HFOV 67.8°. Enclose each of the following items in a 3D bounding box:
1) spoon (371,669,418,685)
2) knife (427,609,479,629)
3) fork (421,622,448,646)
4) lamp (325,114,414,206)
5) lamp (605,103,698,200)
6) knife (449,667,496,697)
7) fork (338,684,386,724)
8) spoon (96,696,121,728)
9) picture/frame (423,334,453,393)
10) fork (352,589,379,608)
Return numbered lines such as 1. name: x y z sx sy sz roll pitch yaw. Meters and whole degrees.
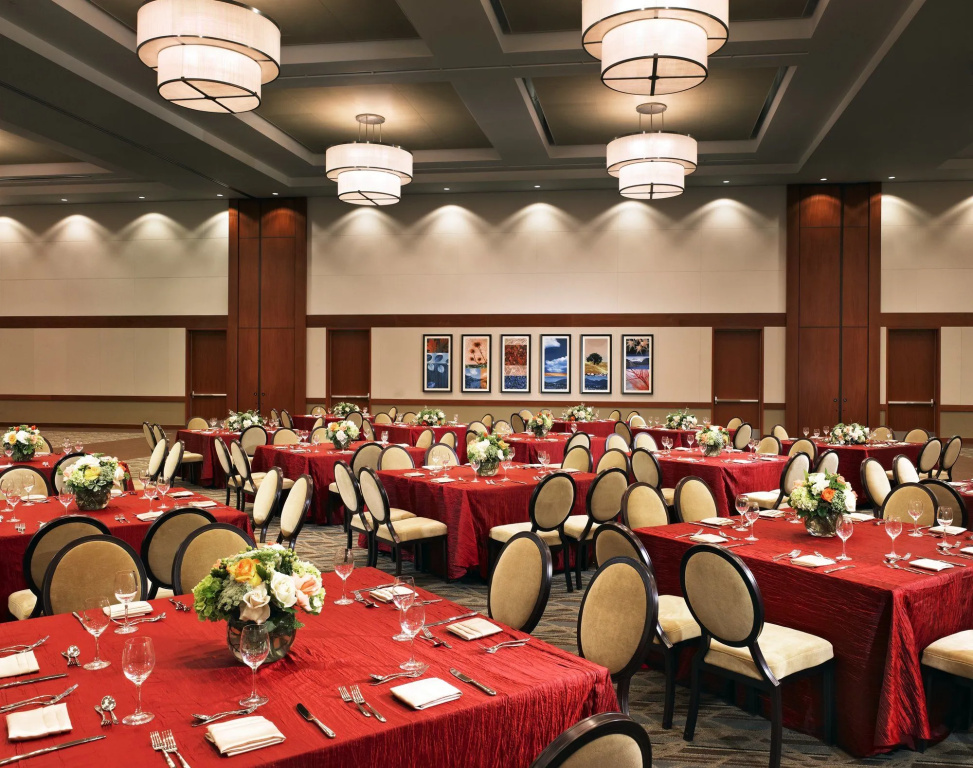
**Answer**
1. spoon: -0.358 1.149 2.863 0.204 0.023 0.092 -1 -2 -10
2. knife: -0.169 1.103 3.420 0.300 0.032 0.160 0 -3 -34
3. fork: -0.241 1.098 3.219 0.059 0.041 0.221 -10 4 -9
4. lamp: -1.908 -3.757 11.934 1.549 1.345 1.565 0 -6 -3
5. lamp: 2.613 -3.590 11.384 1.482 1.300 1.459 -1 2 -40
6. knife: -0.055 1.156 2.831 0.057 0.042 0.289 -2 1 -30
7. fork: -0.463 1.173 2.661 0.070 0.037 0.264 -1 8 -27
8. spoon: -1.369 1.178 2.596 0.053 0.050 0.107 3 1 -26
9. picture/frame: -1.083 -0.442 16.197 0.677 1.171 0.136 -2 0 18
10. fork: -0.615 1.085 3.672 0.049 0.030 0.215 2 -3 -25
